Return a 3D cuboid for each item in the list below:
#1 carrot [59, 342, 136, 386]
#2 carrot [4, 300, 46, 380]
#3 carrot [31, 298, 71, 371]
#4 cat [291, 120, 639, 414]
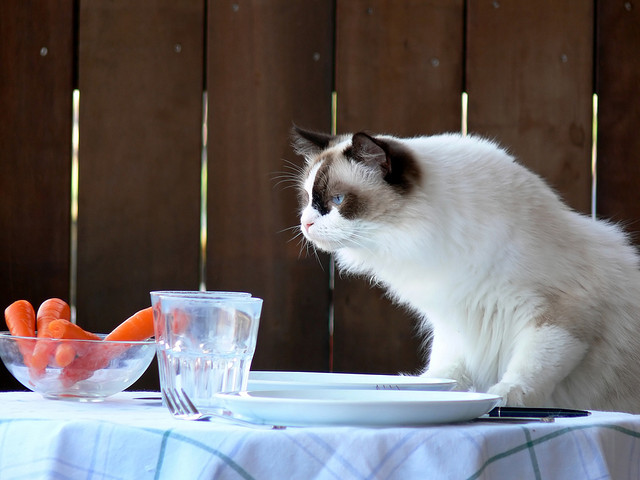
[{"bbox_3d":[-0.564,0.315,2.267,0.181,0.104,0.010,-2,7,-11],"label":"carrot"},{"bbox_3d":[-0.765,0.234,2.332,0.073,0.088,0.323,-16,45,-3],"label":"carrot"},{"bbox_3d":[-0.699,0.224,2.357,0.060,0.059,0.245,27,38,-23],"label":"carrot"},{"bbox_3d":[0.497,0.181,3.143,1.329,1.186,0.588,0,-16,-6],"label":"cat"}]
